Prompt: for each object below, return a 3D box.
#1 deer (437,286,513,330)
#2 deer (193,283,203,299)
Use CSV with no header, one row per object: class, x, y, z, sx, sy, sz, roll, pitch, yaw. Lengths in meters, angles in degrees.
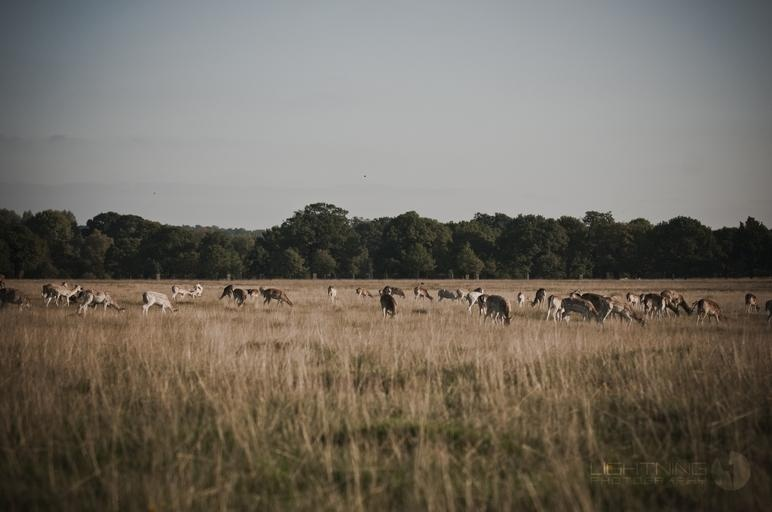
deer,4.118,2.393,42.926,1.773,1.668,3.933,-1,-2,5
deer,-10.564,1.987,60.272,0.694,0.584,1.375,-1,2,-13
